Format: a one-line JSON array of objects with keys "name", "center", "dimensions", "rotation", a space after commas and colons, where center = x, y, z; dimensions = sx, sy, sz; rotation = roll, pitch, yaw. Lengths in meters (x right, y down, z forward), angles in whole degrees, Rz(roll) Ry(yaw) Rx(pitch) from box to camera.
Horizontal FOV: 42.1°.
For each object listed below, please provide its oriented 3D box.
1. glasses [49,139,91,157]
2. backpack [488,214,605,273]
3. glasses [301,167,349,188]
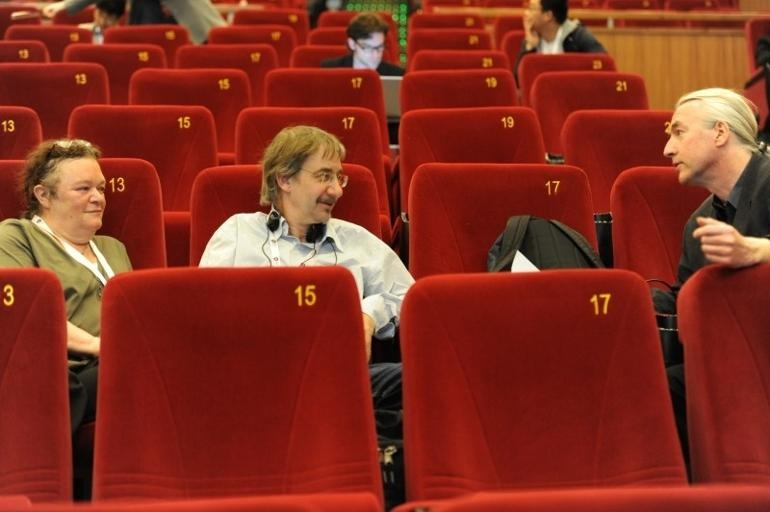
[{"name": "glasses", "center": [-1.004, -0.341, 3.213], "dimensions": [0.071, 0.032, 0.089], "rotation": [3, -2, -5]}, {"name": "backpack", "center": [0.497, -0.035, 3.131], "dimensions": [0.354, 0.166, 0.195], "rotation": [2, 7, 13]}, {"name": "glasses", "center": [-0.192, -0.246, 3.219], "dimensions": [0.143, 0.056, 0.043], "rotation": [-2, 7, -23]}]
